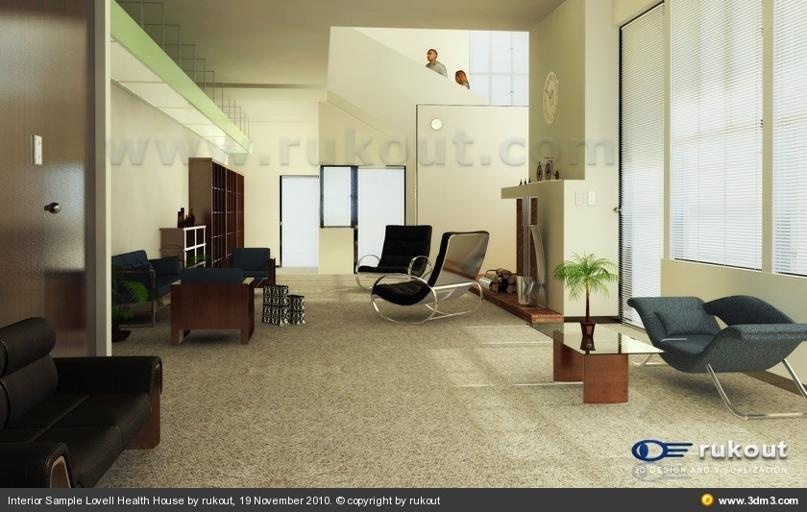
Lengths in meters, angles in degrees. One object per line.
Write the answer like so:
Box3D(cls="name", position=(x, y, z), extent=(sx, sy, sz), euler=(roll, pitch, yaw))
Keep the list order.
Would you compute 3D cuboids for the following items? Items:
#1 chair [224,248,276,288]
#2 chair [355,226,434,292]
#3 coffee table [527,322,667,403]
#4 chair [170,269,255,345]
Box3D(cls="chair", position=(-2.879, 0.112, 9.962), extent=(0.946, 0.917, 0.997), euler=(0, -7, -3))
Box3D(cls="chair", position=(-0.134, 0.013, 9.950), extent=(1.246, 1.164, 1.104), euler=(1, 6, 21))
Box3D(cls="coffee table", position=(1.779, 1.015, 4.966), extent=(0.853, 0.544, 0.888), euler=(0, 7, -2))
Box3D(cls="chair", position=(-2.362, 0.586, 6.852), extent=(0.930, 0.927, 1.007), euler=(1, 5, -3))
